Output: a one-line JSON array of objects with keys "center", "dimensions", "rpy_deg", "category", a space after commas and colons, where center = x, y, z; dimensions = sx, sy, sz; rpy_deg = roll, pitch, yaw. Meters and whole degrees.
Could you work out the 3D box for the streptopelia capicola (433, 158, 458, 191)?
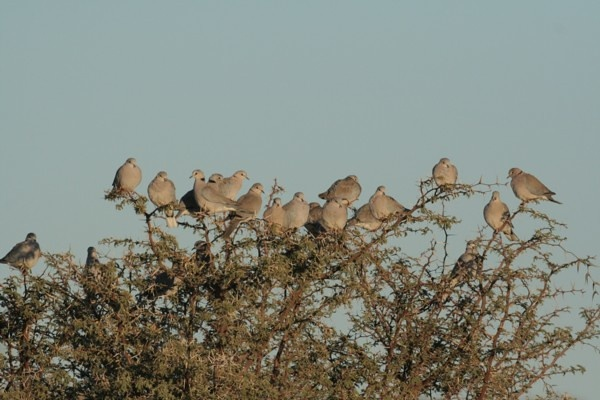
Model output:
[{"center": [3.193, -0.635, 27.698], "dimensions": [0.575, 0.551, 0.311], "rpy_deg": [3, 7, 28], "category": "streptopelia capicola"}]
